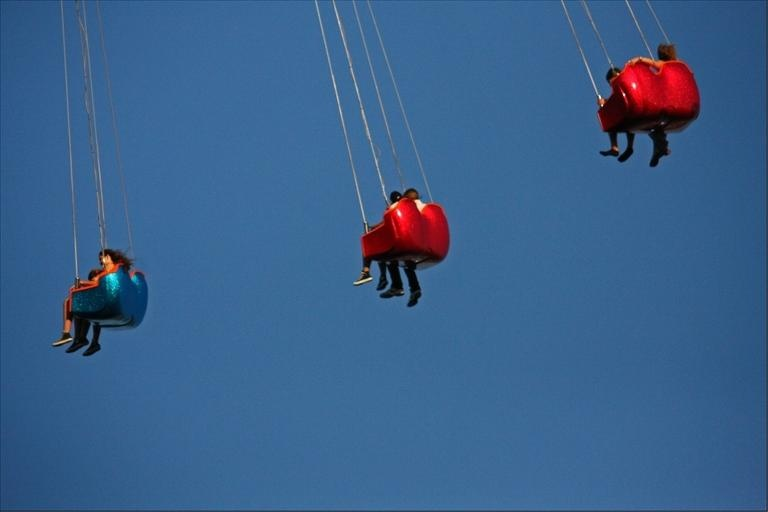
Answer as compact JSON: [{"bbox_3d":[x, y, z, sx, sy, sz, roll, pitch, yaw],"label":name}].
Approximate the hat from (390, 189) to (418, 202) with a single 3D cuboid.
[{"bbox_3d":[0.219,-0.585,15.226,0.228,0.153,0.107,-6,-70,12],"label":"hat"}]
